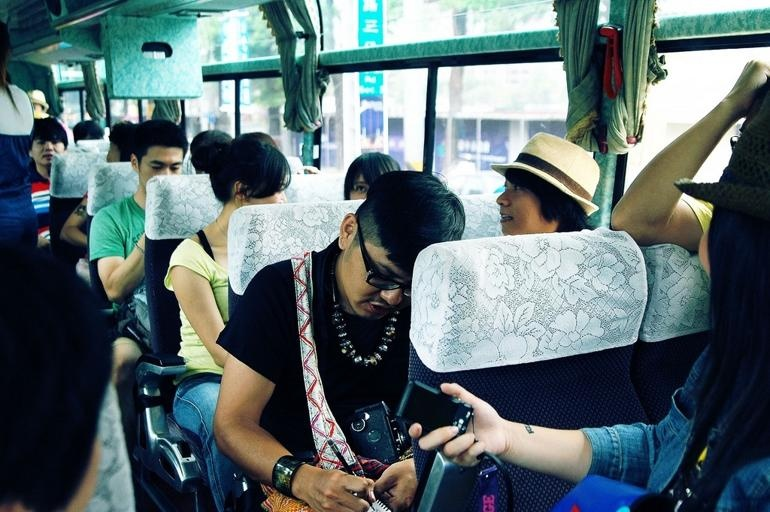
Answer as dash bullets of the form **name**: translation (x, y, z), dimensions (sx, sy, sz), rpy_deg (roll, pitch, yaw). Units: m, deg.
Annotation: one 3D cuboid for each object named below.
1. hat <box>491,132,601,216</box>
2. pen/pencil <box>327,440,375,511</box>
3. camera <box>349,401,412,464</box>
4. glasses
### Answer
- **hat**: translation (0.786, -0.351, 3.015), dimensions (0.438, 0.181, 0.339), rpy_deg (35, -1, -11)
- **pen/pencil**: translation (-0.113, 0.696, 2.027), dimensions (0.023, 0.176, 0.024), rpy_deg (-31, 7, 18)
- **camera**: translation (-0.022, 0.600, 2.278), dimensions (0.203, 0.225, 0.218), rpy_deg (-5, 4, -10)
- **glasses**: translation (-0.029, 0.015, 2.150), dimensions (0.208, 0.063, 0.215), rpy_deg (11, 40, -45)
